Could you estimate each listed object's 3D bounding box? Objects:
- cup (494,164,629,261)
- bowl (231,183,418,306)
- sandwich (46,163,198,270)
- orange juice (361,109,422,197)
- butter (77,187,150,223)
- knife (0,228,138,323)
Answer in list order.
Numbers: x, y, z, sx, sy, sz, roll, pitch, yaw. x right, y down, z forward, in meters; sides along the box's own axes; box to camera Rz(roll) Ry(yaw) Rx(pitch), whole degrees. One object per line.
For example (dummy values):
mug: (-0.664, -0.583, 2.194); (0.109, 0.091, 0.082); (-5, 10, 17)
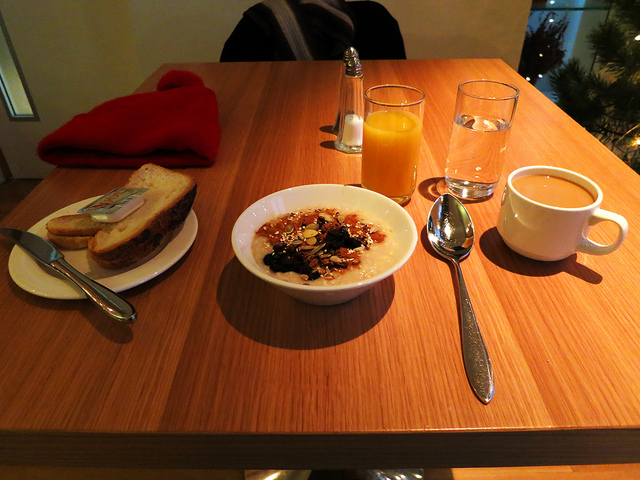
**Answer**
cup: (0.477, -0.067, 0.889); (0.218, 0.160, 0.241); (6, 42, 11)
bowl: (0.009, 0.025, 0.832); (0.336, 0.122, 0.328); (0, 34, 0)
sandwich: (-0.373, -0.031, 0.901); (0.245, 0.064, 0.237); (-31, 43, -31)
orange juice: (0.160, -0.206, 1.038); (0.166, 0.169, 0.142); (-3, 21, -16)
butter: (-0.428, -0.081, 0.913); (0.090, 0.047, 0.126); (6, 47, 7)
knife: (-0.468, 0.072, 0.815); (0.359, 0.018, 0.051); (24, 40, 29)
